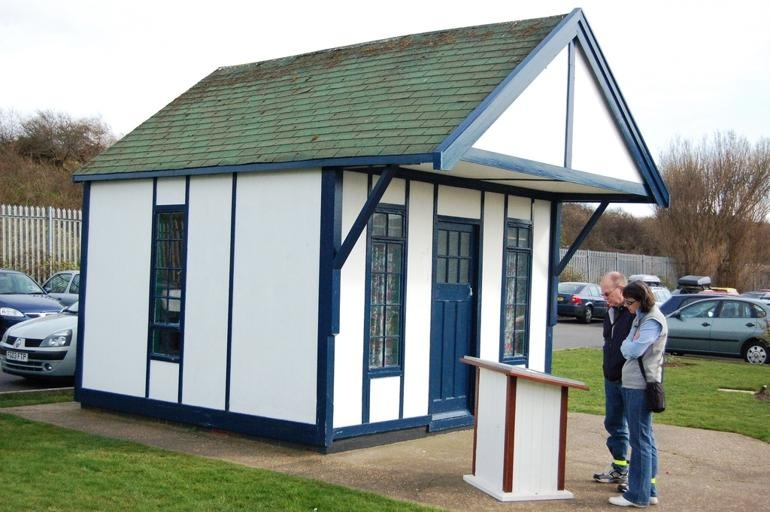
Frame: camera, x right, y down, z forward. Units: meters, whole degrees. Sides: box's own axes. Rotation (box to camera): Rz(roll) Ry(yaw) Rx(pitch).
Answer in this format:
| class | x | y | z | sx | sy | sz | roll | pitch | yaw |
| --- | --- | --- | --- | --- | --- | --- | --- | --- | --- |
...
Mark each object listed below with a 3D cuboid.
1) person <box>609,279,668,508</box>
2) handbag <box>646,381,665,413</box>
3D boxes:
| class | x | y | z | sx | sy | sz | roll | pitch | yaw |
| --- | --- | --- | --- | --- | --- | --- | --- | --- | --- |
| person | 3.666 | 1.962 | 13.100 | 0.678 | 3.193 | 0.498 | 3 | 5 | 17 |
| handbag | 3.858 | 1.985 | 12.930 | 0.264 | 0.436 | 0.178 | 0 | 5 | -21 |
